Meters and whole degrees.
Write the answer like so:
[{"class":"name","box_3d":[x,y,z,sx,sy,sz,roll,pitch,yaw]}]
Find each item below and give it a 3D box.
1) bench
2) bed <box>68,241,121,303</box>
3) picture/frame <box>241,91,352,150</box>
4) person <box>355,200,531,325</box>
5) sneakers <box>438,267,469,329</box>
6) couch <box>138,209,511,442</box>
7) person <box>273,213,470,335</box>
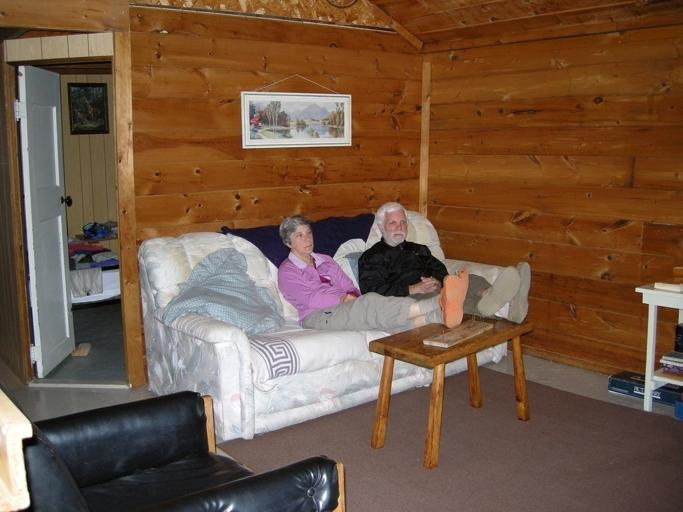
[{"class":"bench","box_3d":[0.683,0.748,3.213,1.025,0.539,0.487,-4,4,-41]},{"class":"bed","box_3d":[-2.486,0.180,5.485,0.709,0.605,0.242,-3,9,-38]},{"class":"picture/frame","box_3d":[-0.330,-1.052,4.272,0.988,0.419,0.054,-9,17,-33]},{"class":"person","box_3d":[0.652,0.061,3.705,0.666,0.722,1.256,-14,13,-31]},{"class":"sneakers","box_3d":[0.629,0.254,3.038,0.155,0.365,0.210,0,15,5]},{"class":"couch","box_3d":[-0.380,0.068,3.440,2.598,1.092,1.198,-7,12,-34]},{"class":"person","box_3d":[0.165,0.164,3.513,1.349,0.689,0.532,5,17,37]}]
